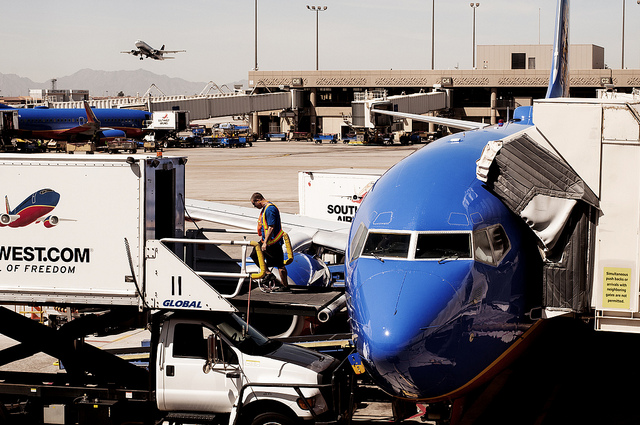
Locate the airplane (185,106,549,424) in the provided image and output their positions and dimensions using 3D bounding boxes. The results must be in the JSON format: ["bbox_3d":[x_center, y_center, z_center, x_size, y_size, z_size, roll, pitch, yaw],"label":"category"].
[{"bbox_3d":[3.459,1.738,35.717,7.348,4.089,10.755,3,12,9],"label":"airplane"}]

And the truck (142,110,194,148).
[{"bbox_3d":[-13.532,-7.031,111.902,4.357,2.949,2.514,-1,-1,19],"label":"truck"}]

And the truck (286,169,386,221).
[{"bbox_3d":[0.506,-0.700,46.716,3.955,1.963,2.276,5,6,30],"label":"truck"}]

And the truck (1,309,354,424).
[{"bbox_3d":[-3.818,4.239,34.518,9.768,3.397,3.509,-1,2,9],"label":"truck"}]

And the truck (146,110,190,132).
[{"bbox_3d":[-13.505,-7.787,110.838,2.449,1.302,2.009,0,4,11],"label":"truck"}]
